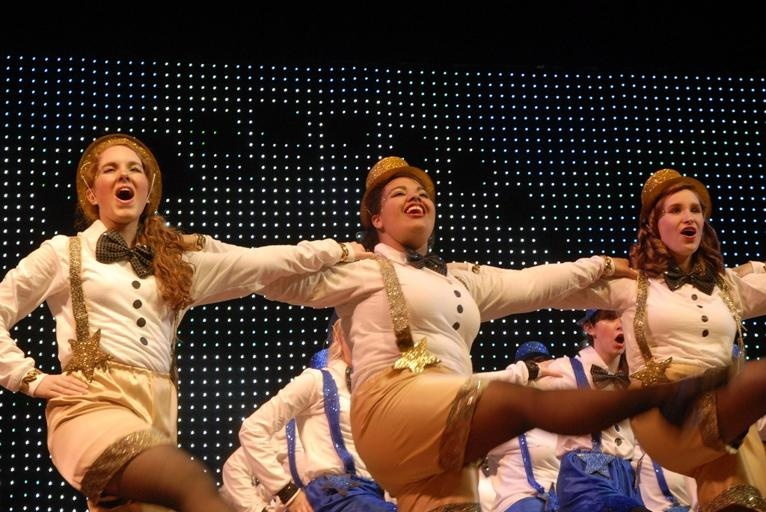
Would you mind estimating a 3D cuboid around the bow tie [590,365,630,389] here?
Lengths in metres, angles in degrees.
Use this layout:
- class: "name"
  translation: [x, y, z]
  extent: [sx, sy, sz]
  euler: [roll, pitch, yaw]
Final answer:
- class: "bow tie"
  translation: [1.473, 0.797, 5.347]
  extent: [0.206, 0.177, 0.059]
  euler: [3, -5, -17]

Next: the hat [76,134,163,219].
- class: "hat"
  translation: [-1.539, -0.446, 4.712]
  extent: [0.614, 0.735, 0.171]
  euler: [-2, 4, -13]
